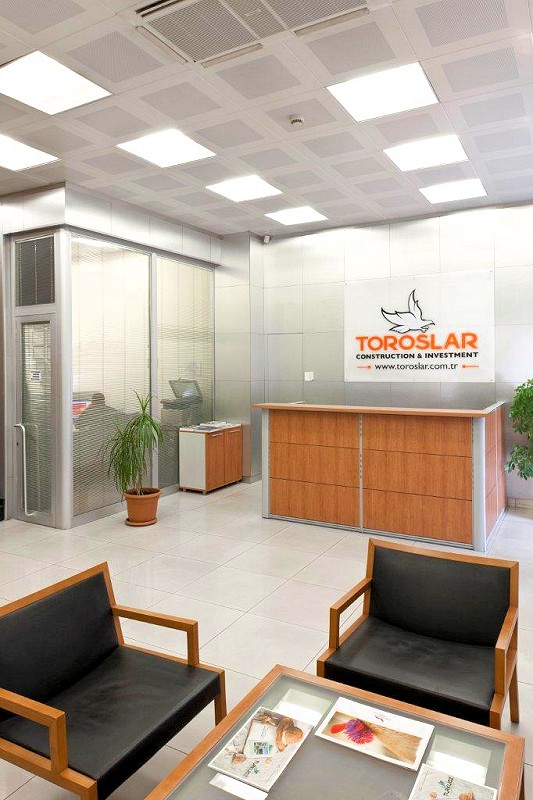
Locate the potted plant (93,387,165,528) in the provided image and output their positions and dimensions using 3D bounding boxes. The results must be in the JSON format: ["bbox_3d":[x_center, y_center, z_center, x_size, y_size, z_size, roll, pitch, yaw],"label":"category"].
[{"bbox_3d":[-1.533,0.626,6.232,0.613,1.358,1.273,-1,2,-12],"label":"potted plant"}]

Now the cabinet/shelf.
[{"bbox_3d":[-0.772,0.781,7.530,0.532,0.881,0.920,0,2,29],"label":"cabinet/shelf"}]

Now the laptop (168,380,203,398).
[{"bbox_3d":[-1.103,-0.135,7.460,0.226,0.302,0.296,-9,-3,23],"label":"laptop"}]
